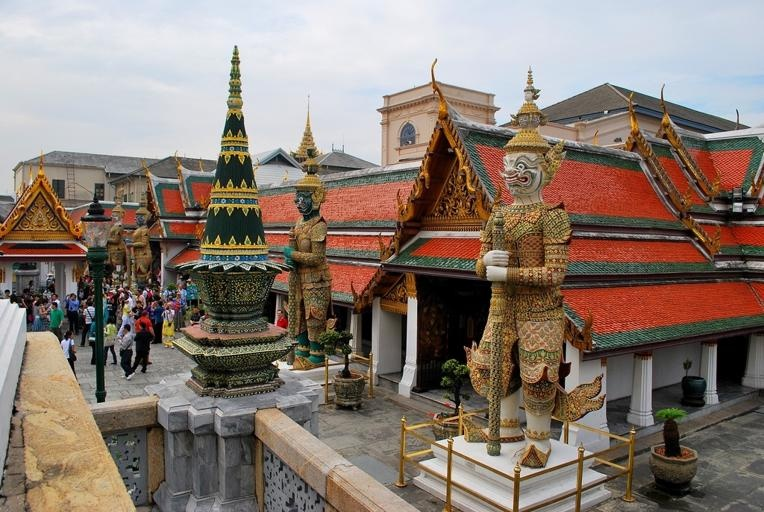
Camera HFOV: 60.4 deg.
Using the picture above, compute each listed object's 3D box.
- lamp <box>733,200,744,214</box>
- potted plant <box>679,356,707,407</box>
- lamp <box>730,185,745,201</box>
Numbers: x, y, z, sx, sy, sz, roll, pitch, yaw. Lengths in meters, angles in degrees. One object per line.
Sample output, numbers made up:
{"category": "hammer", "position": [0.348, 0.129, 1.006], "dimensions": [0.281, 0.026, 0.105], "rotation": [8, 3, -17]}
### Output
{"category": "lamp", "position": [10.172, -1.399, 18.816], "dimensions": [0.266, 0.305, 0.115], "rotation": [0, 3, 28]}
{"category": "potted plant", "position": [7.429, 3.008, 15.675], "dimensions": [0.603, 0.943, 0.582], "rotation": [5, 2, 39]}
{"category": "lamp", "position": [10.167, -1.792, 18.820], "dimensions": [0.375, 0.433, 0.373], "rotation": [4, 3, 28]}
